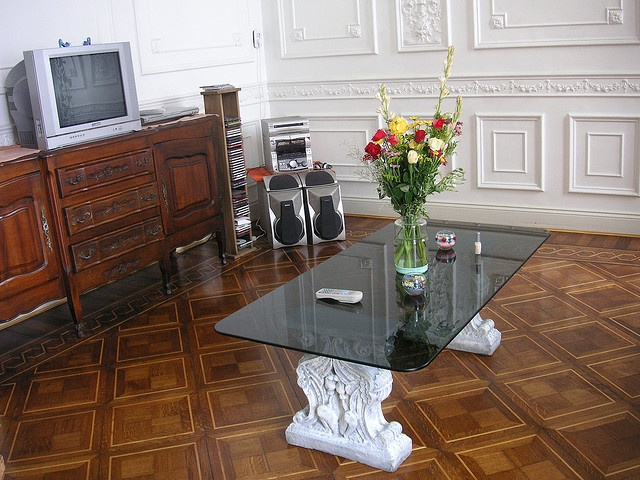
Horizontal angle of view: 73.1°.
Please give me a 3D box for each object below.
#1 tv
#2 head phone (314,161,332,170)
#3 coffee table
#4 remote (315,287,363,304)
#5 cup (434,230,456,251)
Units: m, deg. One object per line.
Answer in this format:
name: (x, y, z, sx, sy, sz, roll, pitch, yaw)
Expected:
tv: (-1.625, -0.915, 2.779, 0.439, 0.527, 0.638, 13, 24, 28)
head phone: (0.022, -0.700, 4.125, 0.165, 0.060, 0.123, 1, 8, 18)
coffee table: (0.324, 0.349, 2.083, 0.884, 0.854, 1.467, 14, 26, 38)
remote: (0.082, 0.240, 1.922, 0.164, 0.040, 0.080, 2, 12, 18)
cup: (0.679, 0.003, 2.361, 0.104, 0.090, 0.104, -2, 11, 0)
